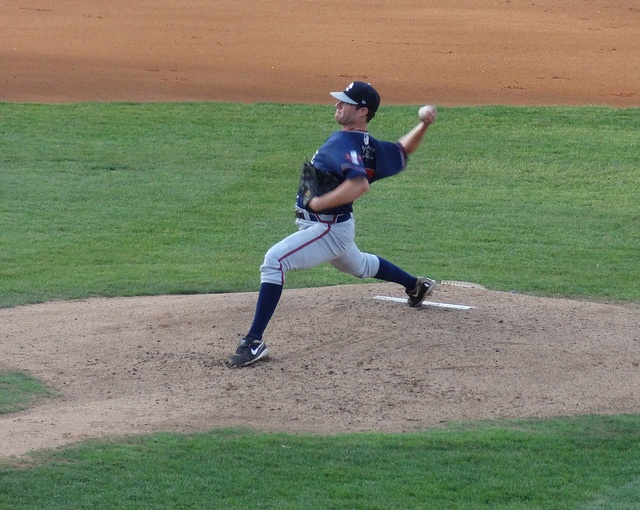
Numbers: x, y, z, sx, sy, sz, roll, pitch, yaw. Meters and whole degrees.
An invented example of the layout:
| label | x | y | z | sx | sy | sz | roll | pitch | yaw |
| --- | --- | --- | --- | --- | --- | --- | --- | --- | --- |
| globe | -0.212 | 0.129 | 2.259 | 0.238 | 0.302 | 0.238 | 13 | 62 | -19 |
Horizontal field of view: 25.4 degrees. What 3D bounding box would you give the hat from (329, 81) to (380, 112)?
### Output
| label | x | y | z | sx | sy | sz | roll | pitch | yaw |
| --- | --- | --- | --- | --- | --- | --- | --- | --- | --- |
| hat | 0.526 | -2.334 | 20.313 | 0.802 | 0.315 | 0.496 | 13 | 19 | -22 |
